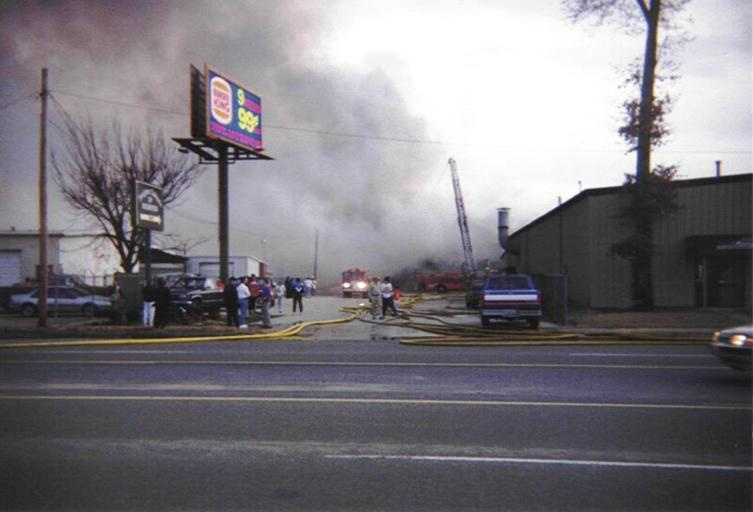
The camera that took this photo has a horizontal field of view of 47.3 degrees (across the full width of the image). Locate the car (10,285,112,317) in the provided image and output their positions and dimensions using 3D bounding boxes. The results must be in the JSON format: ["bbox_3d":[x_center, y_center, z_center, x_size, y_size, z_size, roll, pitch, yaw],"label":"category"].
[{"bbox_3d":[-14.829,2.176,40.562,4.749,1.444,1.383,-3,-2,18],"label":"car"}]

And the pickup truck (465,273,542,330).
[{"bbox_3d":[5.160,1.749,34.069,2.098,2.088,6.359,-2,-3,7],"label":"pickup truck"}]

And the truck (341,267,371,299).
[{"bbox_3d":[-1.696,2.154,68.356,2.102,2.141,3.490,0,-4,2],"label":"truck"}]
